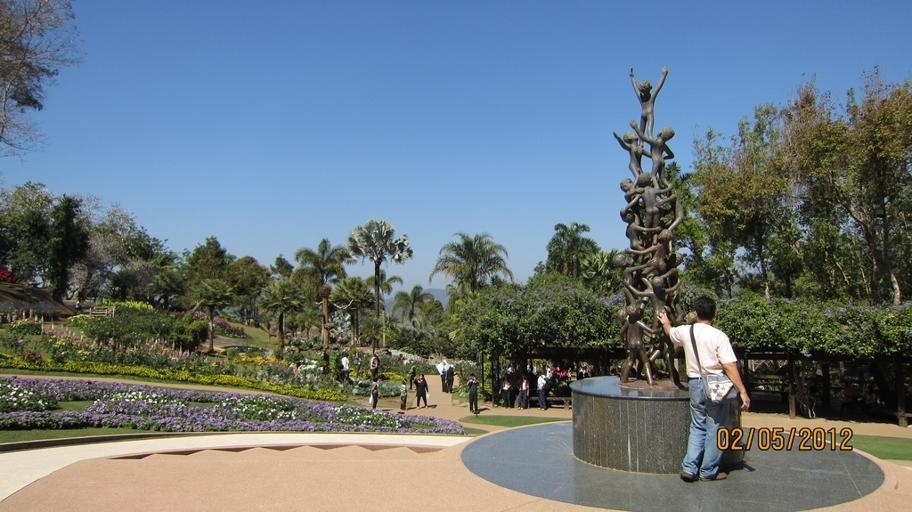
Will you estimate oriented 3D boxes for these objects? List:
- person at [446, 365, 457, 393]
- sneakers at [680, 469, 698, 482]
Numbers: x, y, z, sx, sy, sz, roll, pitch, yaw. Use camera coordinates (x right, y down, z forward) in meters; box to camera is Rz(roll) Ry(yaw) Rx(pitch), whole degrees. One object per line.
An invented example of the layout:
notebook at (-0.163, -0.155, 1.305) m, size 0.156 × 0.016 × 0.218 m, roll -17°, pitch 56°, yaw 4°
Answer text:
person at (-0.512, 8.705, 42.262) m, size 0.521 × 1.515 × 1.054 m, roll -2°, pitch 11°, yaw -5°
sneakers at (7.911, 7.451, 20.371) m, size 0.279 × 0.264 × 0.614 m, roll 9°, pitch -23°, yaw 19°
